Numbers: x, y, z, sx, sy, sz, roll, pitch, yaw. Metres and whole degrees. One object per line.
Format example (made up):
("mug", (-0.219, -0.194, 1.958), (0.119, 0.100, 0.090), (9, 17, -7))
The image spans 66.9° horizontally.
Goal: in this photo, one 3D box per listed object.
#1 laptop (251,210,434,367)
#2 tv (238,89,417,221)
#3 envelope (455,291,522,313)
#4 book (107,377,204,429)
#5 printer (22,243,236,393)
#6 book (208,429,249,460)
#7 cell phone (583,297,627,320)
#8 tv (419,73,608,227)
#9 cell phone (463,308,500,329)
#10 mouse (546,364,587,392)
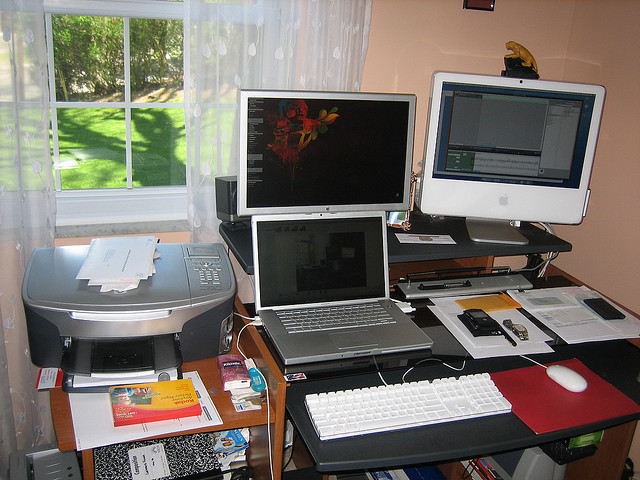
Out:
("laptop", (0.027, 0.127, 1.589), (0.580, 0.384, 0.480), (-5, 27, -21))
("tv", (0.001, -0.295, 1.632), (0.473, 0.319, 0.012), (-3, 16, -15))
("envelope", (0.616, 0.231, 1.801), (0.201, 0.015, 0.110), (-5, 15, -19))
("book", (-0.481, 0.471, 1.404), (0.240, 0.038, 0.157), (3, 19, -31))
("printer", (-0.630, 0.234, 1.666), (0.624, 0.428, 0.509), (-4, 24, -19))
("book", (-0.314, 0.687, 1.649), (0.111, 0.028, 0.115), (-12, 33, -29))
("cell phone", (1.065, 0.256, 1.811), (0.117, 0.037, 0.118), (-5, 20, -15))
("tv", (0.720, -0.338, 1.842), (0.618, 0.533, 0.126), (6, 21, -3))
("cell phone", (0.558, 0.272, 1.682), (0.089, 0.031, 0.106), (-5, 20, -14))
("mouse", (0.757, 0.417, 1.476), (0.067, 0.028, 0.088), (-7, 27, -22))
